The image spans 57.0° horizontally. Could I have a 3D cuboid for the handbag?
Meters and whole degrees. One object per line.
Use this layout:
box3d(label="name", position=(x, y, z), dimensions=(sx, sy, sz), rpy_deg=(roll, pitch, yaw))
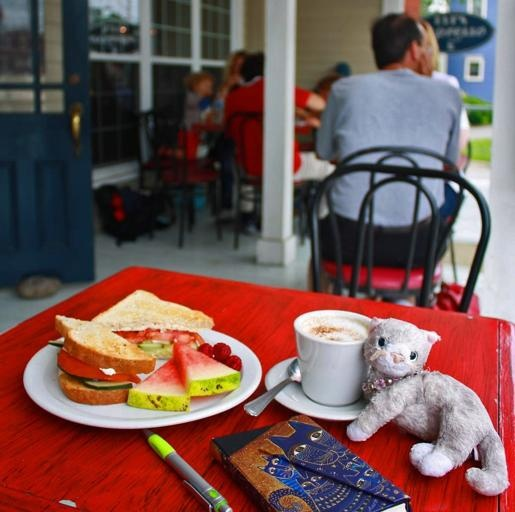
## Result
box3d(label="handbag", position=(-0.771, -0.248, 2.876), dimensions=(0.329, 0.173, 0.423), rpy_deg=(3, 22, -5))

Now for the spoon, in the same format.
box3d(label="spoon", position=(0.020, 0.142, 0.535), dimensions=(0.025, 0.016, 0.124), rpy_deg=(20, 16, 18))

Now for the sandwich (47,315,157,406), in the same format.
box3d(label="sandwich", position=(-0.150, 0.111, 0.506), dimensions=(0.137, 0.041, 0.072), rpy_deg=(-2, 26, 42))

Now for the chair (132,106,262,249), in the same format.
box3d(label="chair", position=(-0.436, -0.597, 3.021), dimensions=(0.644, 0.953, 0.783), rpy_deg=(-21, 42, -29))

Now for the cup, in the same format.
box3d(label="cup", position=(0.074, 0.104, 0.488), dimensions=(0.083, 0.074, 0.090), rpy_deg=(0, 19, 0))
